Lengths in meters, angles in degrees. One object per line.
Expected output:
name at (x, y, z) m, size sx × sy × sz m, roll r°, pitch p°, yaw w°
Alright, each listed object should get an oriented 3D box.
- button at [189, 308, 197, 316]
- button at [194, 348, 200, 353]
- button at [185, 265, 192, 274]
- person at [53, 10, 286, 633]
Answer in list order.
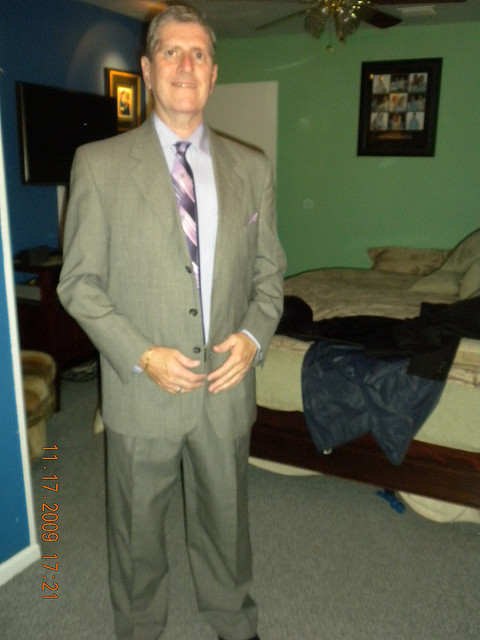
button at (-0.107, -0.016, 1.182) m, size 0.017 × 0.015 × 0.004 m, roll -2°, pitch 14°, yaw -12°
button at (-0.100, 0.071, 1.207) m, size 0.012 × 0.011 × 0.002 m, roll -1°, pitch 13°, yaw -5°
button at (-0.119, -0.111, 1.155) m, size 0.011 × 0.016 × 0.003 m, roll -5°, pitch 15°, yaw 3°
person at (-0.126, 0.149, 1.346) m, size 0.592 × 1.724 × 0.345 m, roll -12°, pitch 18°, yaw -41°
